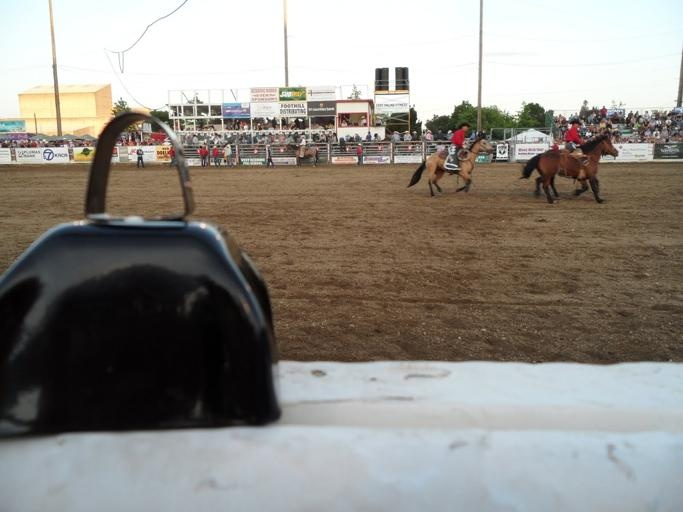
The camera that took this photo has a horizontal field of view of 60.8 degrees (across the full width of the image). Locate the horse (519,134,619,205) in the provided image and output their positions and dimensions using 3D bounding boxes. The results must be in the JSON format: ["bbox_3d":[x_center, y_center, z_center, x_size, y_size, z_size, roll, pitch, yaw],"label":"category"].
[{"bbox_3d":[5.791,-2.264,14.799,2.260,1.647,0.588,1,13,20],"label":"horse"}]

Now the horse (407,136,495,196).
[{"bbox_3d":[3.119,-2.678,16.778,1.812,1.670,1.822,-2,12,-13],"label":"horse"}]
